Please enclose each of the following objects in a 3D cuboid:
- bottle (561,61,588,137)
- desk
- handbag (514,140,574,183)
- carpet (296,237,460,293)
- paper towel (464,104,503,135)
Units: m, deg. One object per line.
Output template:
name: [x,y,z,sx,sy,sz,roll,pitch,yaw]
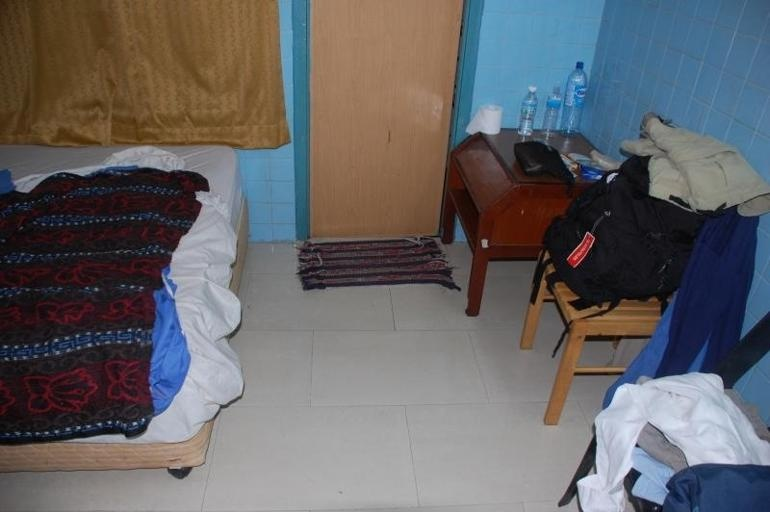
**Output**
bottle: [1.364,-1.125,3.786,0.150,0.450,0.160,2,30,-1]
desk: [0.737,-0.266,3.843,1.213,1.169,1.193,2,51,3]
handbag: [0.968,-0.573,3.271,0.284,0.093,0.279,4,45,-8]
carpet: [-0.082,0.055,3.992,0.848,0.139,0.512,-1,41,-9]
paper towel: [0.707,-0.962,3.782,0.255,0.183,0.164,5,39,16]
